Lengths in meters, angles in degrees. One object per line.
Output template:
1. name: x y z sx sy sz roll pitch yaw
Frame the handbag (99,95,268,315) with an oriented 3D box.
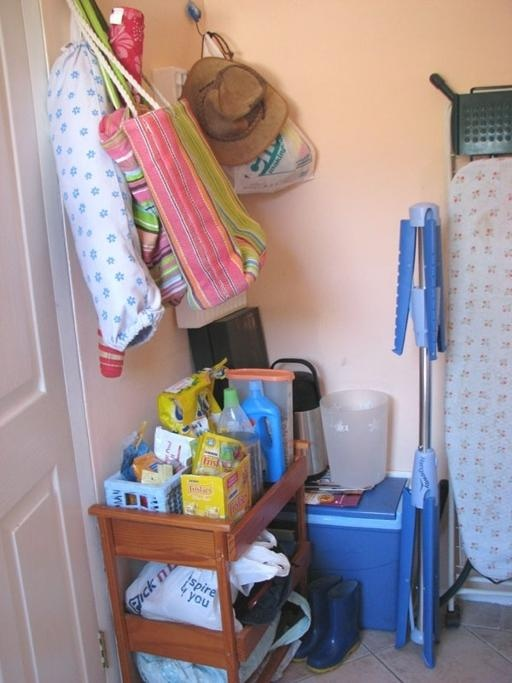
1. handbag: -0.206 -0.260 1.275 0.132 0.392 0.332 -13 24 33

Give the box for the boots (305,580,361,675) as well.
1. boots: 0.232 0.815 1.735 0.101 0.225 0.215 5 14 31

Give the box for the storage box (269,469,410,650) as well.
1. storage box: 0.295 0.587 1.955 0.596 0.562 0.432 -1 9 12

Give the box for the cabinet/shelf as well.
1. cabinet/shelf: -0.108 0.577 1.496 0.365 0.546 0.483 2 13 19
